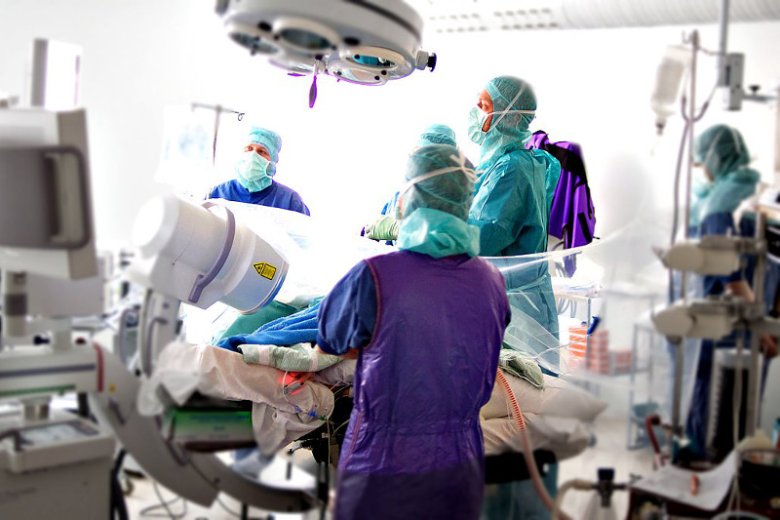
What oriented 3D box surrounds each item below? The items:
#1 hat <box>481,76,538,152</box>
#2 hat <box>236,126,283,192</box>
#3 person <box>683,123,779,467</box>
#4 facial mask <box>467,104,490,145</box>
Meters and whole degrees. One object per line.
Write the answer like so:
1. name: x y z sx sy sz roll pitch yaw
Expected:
1. hat: 0.600 -0.624 2.938 0.283 0.337 0.260 15 12 17
2. hat: -0.604 -0.505 3.369 0.216 0.291 0.303 21 18 -3
3. person: 1.260 0.107 2.445 0.523 1.175 0.121 -3 5 -27
4. facial mask: 0.390 -0.589 2.940 0.127 0.139 0.122 -8 18 24
